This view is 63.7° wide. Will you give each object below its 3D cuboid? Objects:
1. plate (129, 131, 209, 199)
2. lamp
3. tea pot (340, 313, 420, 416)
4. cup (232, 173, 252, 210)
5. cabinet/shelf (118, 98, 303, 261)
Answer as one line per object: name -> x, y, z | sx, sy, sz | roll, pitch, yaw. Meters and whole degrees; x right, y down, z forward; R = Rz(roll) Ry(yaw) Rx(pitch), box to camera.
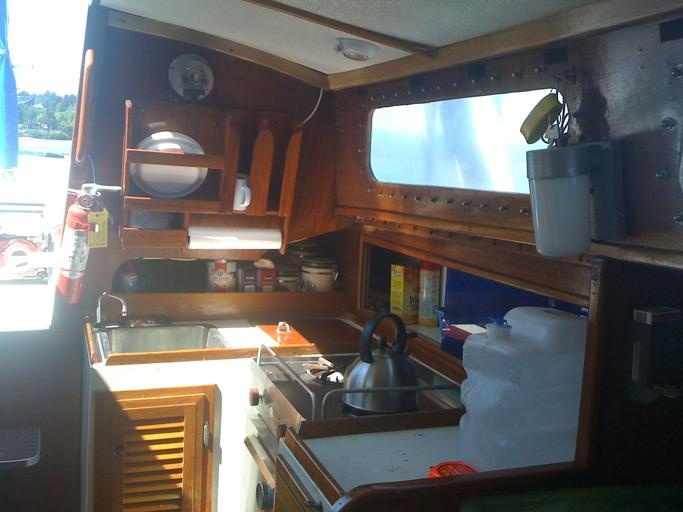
plate -> -0.754, -0.393, 2.391 | 0.325, 0.291, 0.198 | -3, 6, -13
lamp -> 0.528, -0.133, 1.338 | 0.160, 0.253, 0.160 | -5, 7, 17
tea pot -> 0.151, 0.358, 1.826 | 0.304, 0.335, 0.233 | -3, -1, 32
cup -> -0.458, -0.270, 2.543 | 0.087, 0.123, 0.140 | 3, -2, -15
cabinet/shelf -> -0.624, -0.377, 2.515 | 0.743, 0.674, 0.232 | 2, 14, -23
